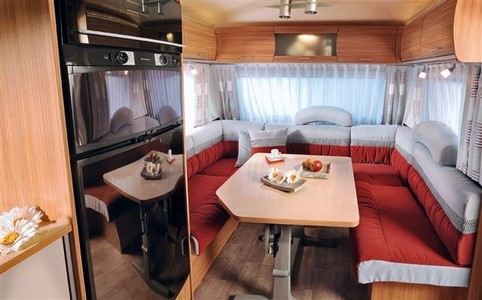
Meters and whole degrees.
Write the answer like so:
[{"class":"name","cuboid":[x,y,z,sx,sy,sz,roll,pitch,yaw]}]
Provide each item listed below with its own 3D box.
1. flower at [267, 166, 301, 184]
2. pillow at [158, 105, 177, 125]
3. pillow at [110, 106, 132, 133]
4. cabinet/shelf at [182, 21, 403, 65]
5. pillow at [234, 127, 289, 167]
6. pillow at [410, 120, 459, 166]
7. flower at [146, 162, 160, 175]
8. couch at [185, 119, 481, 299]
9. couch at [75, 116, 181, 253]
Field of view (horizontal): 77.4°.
[{"class":"flower","cuboid":[0.385,0.234,2.677,0.209,0.056,0.150,-16,50,-1]},{"class":"pillow","cuboid":[-0.487,-0.239,1.999,0.118,0.112,0.028,1,14,-41]},{"class":"pillow","cuboid":[-0.679,-0.174,1.675,0.030,0.107,0.148,17,20,20]},{"class":"cabinet/shelf","cuboid":[0.705,-1.495,4.239,2.907,0.580,0.695,-2,12,-4]},{"class":"pillow","cuboid":[0.295,-0.043,4.005,0.610,0.420,0.202,-2,11,1]},{"class":"pillow","cuboid":[1.993,-0.085,3.043,0.289,0.333,0.709,4,13,24]},{"class":"flower","cuboid":[-0.561,0.117,1.895,0.064,0.041,0.076,4,30,-6]},{"class":"couch","cuboid":[1.390,0.594,3.336,2.320,0.727,2.056,1,10,15]},{"class":"couch","cuboid":[-0.675,0.196,1.736,0.268,0.419,0.881,8,19,16]}]
